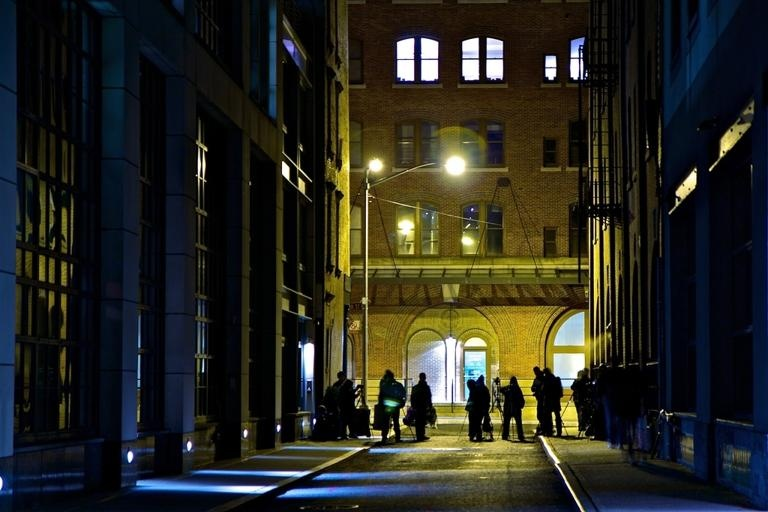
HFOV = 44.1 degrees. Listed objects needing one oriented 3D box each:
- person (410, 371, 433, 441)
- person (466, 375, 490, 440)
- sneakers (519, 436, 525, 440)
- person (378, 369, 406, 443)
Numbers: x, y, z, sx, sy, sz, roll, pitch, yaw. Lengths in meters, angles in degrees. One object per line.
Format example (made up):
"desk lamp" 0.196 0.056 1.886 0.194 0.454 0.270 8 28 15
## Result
"person" 1.336 5.455 34.617 0.647 2.566 1.396 -1 -13 1
"person" 3.413 5.522 34.497 0.830 2.366 1.040 -1 -13 0
"sneakers" 4.948 6.550 34.120 0.214 0.137 0.667 -3 -14 7
"person" 0.269 5.140 33.323 0.956 2.611 0.798 -6 23 -16
